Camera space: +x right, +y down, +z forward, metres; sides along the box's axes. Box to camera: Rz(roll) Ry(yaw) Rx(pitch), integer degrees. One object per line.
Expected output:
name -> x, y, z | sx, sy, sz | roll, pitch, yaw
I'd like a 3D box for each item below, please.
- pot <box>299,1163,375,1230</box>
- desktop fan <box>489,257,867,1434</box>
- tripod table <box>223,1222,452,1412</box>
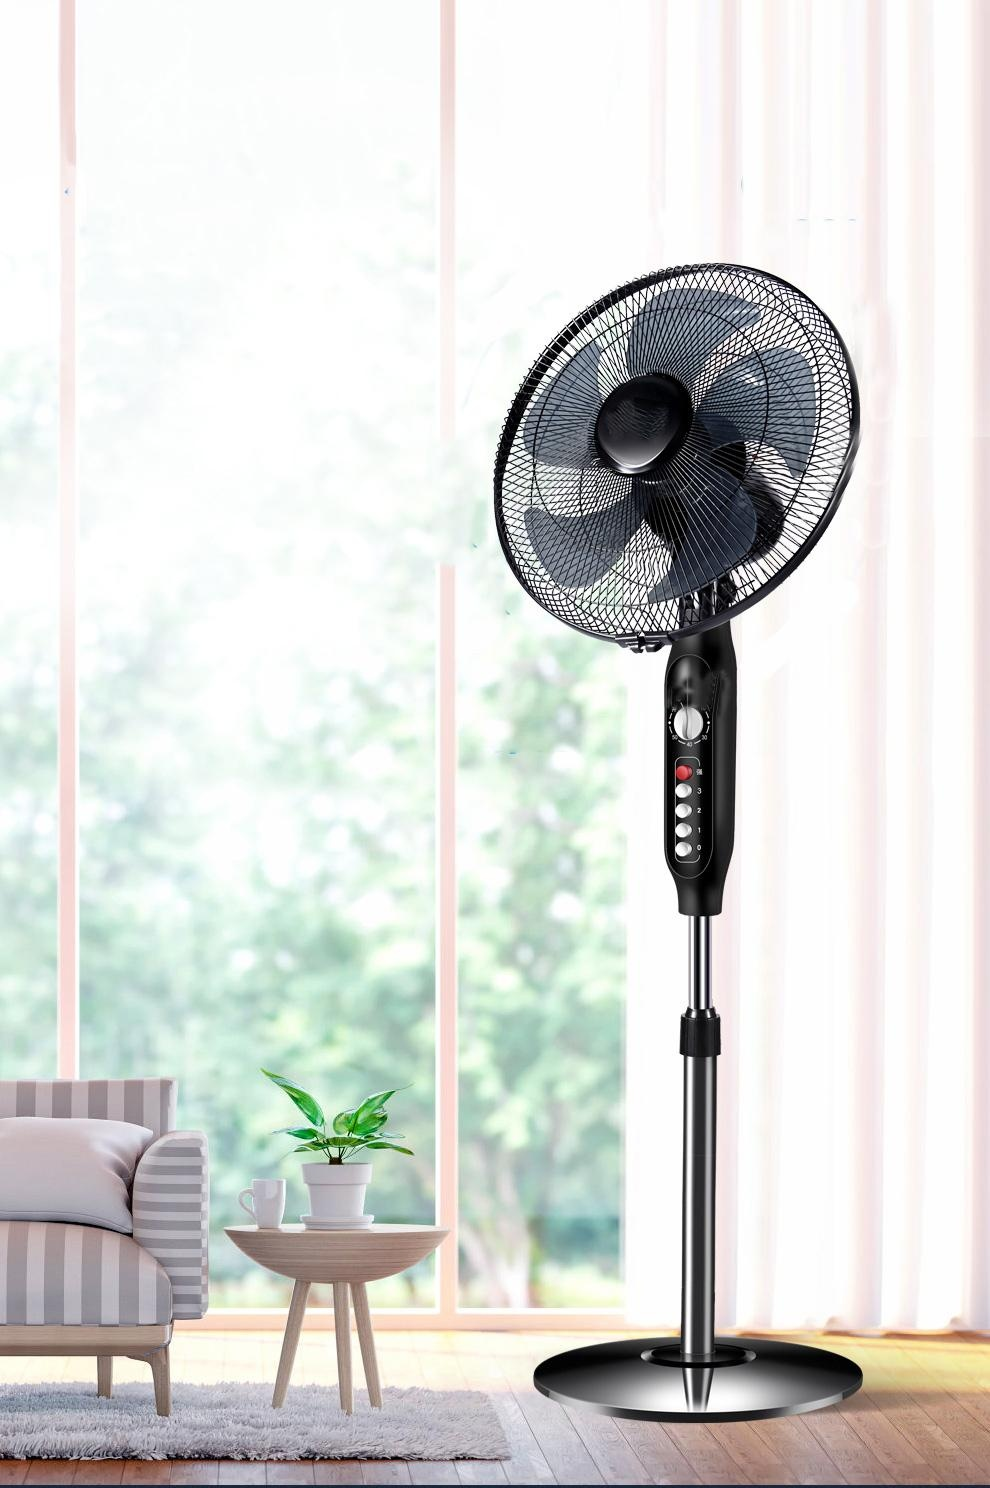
pot -> -0.259, 0.723, 2.494 | 0.108, 0.086, 0.105 | 0, -12, 0
desktop fan -> 0.278, 0.162, 2.514 | 0.554, 1.791, 0.678 | -1, -6, 6
tripod table -> -0.256, 0.901, 2.434 | 0.342, 0.251, 0.341 | -4, -20, 16
